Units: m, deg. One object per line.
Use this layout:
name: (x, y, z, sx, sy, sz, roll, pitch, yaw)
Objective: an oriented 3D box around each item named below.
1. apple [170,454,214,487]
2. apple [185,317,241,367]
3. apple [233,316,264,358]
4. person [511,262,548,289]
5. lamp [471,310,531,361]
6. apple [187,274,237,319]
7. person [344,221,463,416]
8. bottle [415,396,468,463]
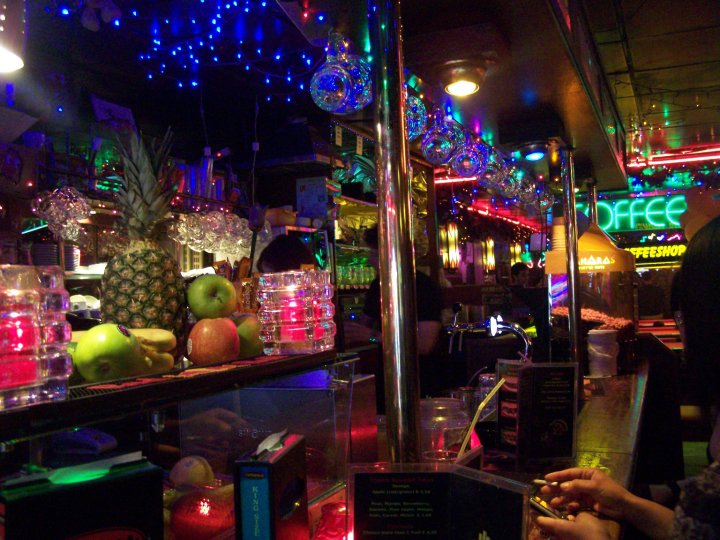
apple: (-0.429, 0.523, 1.566, 0.072, 0.069, 0.078, -18, -36, 36)
apple: (-0.412, 0.205, 1.761, 0.160, 0.128, 0.189, 0, -2, -21)
apple: (-0.344, 0.214, 1.903, 0.101, 0.128, 0.102, 1, -13, -33)
person: (2.536, 0.174, 9.437, 0.645, 0.361, 0.918, 0, -10, 6)
lamp: (0.715, 0.328, 3.069, 0.300, 0.216, 0.111, 2, 17, 32)
apple: (-0.451, 0.080, 1.921, 0.132, 0.140, 0.153, 11, -3, -15)
person: (0.278, 0.512, 4.661, 0.854, 1.009, 1.920, -1, -2, 6)
bottle: (0.260, 0.499, 1.948, 0.190, 0.192, 0.195, 0, -7, 1)
